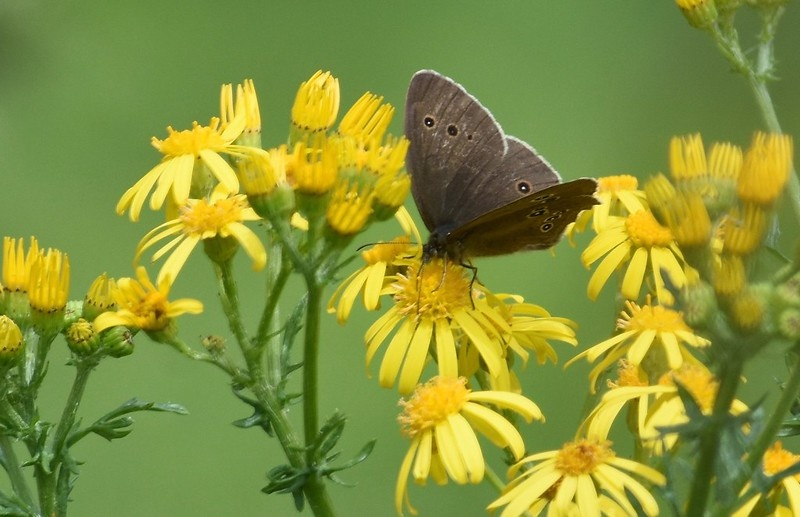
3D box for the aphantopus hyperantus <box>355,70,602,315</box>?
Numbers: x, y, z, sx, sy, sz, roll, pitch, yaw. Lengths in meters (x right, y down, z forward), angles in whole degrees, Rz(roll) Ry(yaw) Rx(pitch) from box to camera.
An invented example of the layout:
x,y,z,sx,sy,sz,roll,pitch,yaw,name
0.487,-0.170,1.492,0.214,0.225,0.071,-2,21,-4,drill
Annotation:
x,y,z,sx,sy,sz,roll,pitch,yaw,name
0.122,-0.067,1.619,0.337,0.415,0.257,3,-78,-14,aphantopus hyperantus
